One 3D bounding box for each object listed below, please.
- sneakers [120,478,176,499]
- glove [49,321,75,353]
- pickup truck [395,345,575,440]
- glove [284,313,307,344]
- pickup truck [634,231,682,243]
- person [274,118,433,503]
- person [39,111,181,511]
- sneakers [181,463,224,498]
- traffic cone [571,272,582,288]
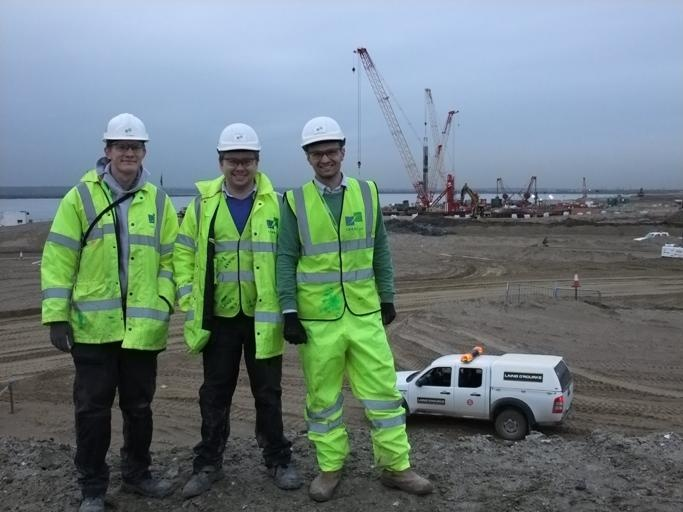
[{"bbox_3d":[-1.708,2.039,5.269,0.368,0.154,0.197,0,1,5],"label":"sneakers"},{"bbox_3d":[-2.335,0.679,4.911,0.177,0.260,0.168,1,-3,-26],"label":"glove"},{"bbox_3d":[2.521,2.180,10.194,2.957,1.314,1.542,3,1,23],"label":"pickup truck"},{"bbox_3d":[-0.403,0.636,5.139,0.206,0.295,0.207,0,-3,-12],"label":"glove"},{"bbox_3d":[22.488,-1.367,42.282,3.266,0.756,1.739,1,-3,-39],"label":"pickup truck"},{"bbox_3d":[-0.011,0.443,5.304,1.145,3.348,0.421,0,-3,-7],"label":"person"},{"bbox_3d":[-2.004,0.619,5.129,1.091,3.033,0.432,0,-3,-16],"label":"person"},{"bbox_3d":[-1.227,1.997,5.256,0.143,0.163,0.397,7,14,29],"label":"sneakers"},{"bbox_3d":[10.234,1.066,25.648,0.614,0.723,0.266,-1,-1,1],"label":"traffic cone"}]
